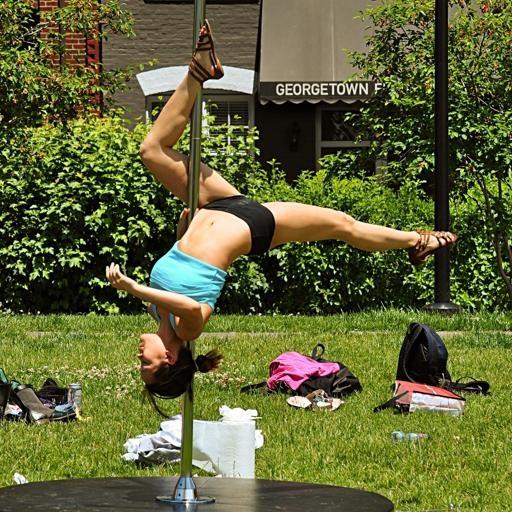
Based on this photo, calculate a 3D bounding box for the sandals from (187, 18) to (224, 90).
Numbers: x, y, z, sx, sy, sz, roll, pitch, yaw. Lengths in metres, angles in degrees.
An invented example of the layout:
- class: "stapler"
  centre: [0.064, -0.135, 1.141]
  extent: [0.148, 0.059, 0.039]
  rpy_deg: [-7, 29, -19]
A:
- class: "sandals"
  centre: [-0.347, -1.510, 7.947]
  extent: [0.217, 0.524, 0.139]
  rpy_deg: [4, 21, 37]

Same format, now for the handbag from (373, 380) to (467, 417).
- class: "handbag"
  centre: [1.584, 1.364, 10.240]
  extent: [0.786, 0.205, 0.551]
  rpy_deg: [9, 3, -27]

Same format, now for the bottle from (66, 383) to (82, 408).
- class: "bottle"
  centre: [-1.725, 1.342, 10.181]
  extent: [0.126, 0.206, 0.587]
  rpy_deg: [-1, 4, -9]

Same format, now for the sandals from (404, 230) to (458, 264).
- class: "sandals"
  centre: [1.476, -0.099, 9.148]
  extent: [0.447, 0.219, 0.187]
  rpy_deg: [-23, -12, 4]
